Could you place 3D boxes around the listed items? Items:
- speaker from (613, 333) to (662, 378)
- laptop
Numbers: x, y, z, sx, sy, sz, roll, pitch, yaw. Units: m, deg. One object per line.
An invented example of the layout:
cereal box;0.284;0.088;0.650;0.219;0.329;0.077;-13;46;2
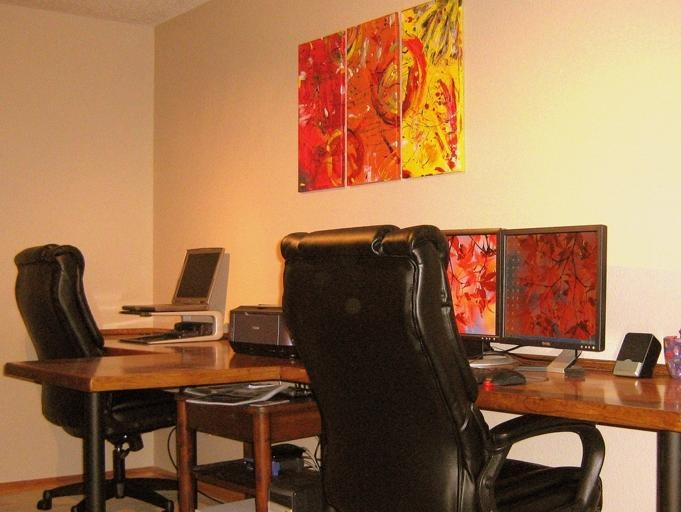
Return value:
speaker;1.141;0.375;2.196;0.158;0.159;0.115;-3;4;-36
laptop;-1.067;0.177;3.814;0.530;0.396;0.520;7;-8;-44
